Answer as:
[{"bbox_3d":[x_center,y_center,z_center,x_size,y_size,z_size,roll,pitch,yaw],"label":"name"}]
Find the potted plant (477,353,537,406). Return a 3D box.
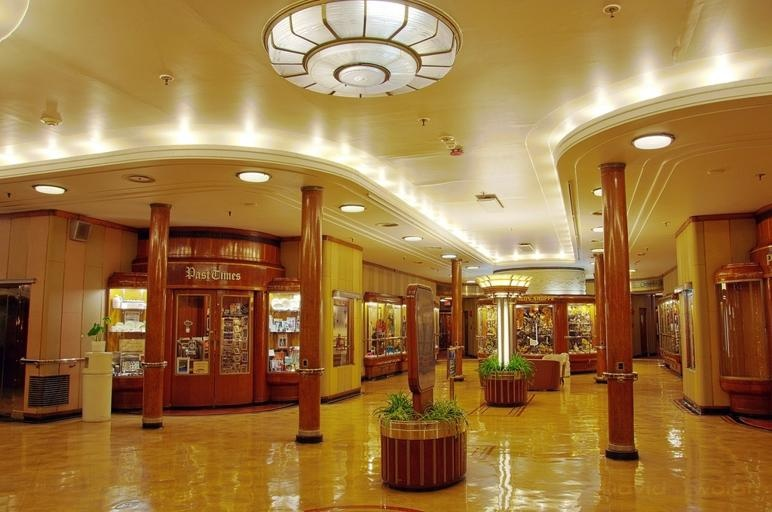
[{"bbox_3d":[3.009,3.178,13.086,1.217,0.991,1.225,1,-11,0],"label":"potted plant"}]

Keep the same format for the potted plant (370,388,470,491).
[{"bbox_3d":[0.469,2.692,7.412,1.153,1.065,1.118,8,-15,-40],"label":"potted plant"}]
